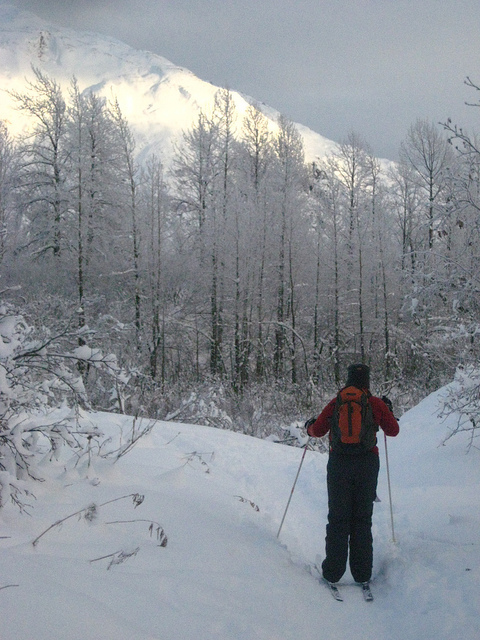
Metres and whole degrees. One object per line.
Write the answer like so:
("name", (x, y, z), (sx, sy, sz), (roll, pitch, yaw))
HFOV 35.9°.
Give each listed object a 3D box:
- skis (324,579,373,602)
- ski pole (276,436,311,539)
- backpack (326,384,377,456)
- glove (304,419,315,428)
("skis", (0.971, 2.397, 6.590), (0.403, 0.117, 0.271), (10, 6, -10))
("ski pole", (0.634, 2.005, 8.746), (0.019, 1.065, 0.040), (20, -15, 3))
("backpack", (1.076, 0.945, 7.038), (0.430, 0.698, 0.343), (-2, -6, 19))
("glove", (0.687, 1.018, 7.286), (0.084, 0.107, 0.143), (10, 5, 6))
